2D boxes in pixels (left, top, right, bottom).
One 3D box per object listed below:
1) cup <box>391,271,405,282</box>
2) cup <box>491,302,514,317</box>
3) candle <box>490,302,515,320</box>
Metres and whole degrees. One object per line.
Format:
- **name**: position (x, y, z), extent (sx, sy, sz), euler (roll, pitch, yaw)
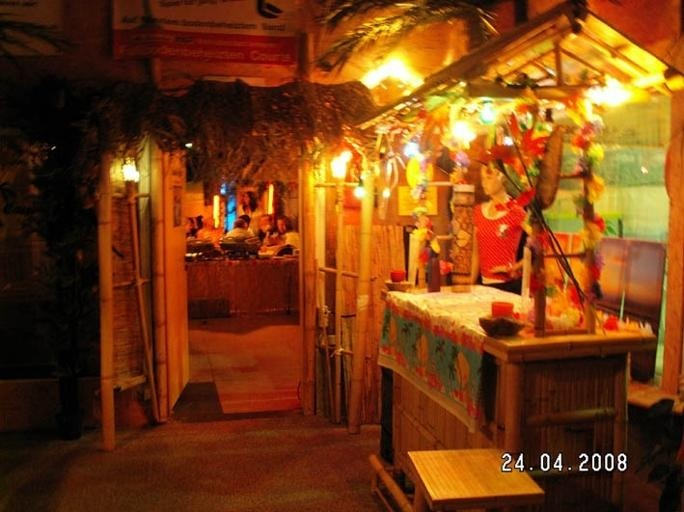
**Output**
- **cup**: position (0.448, 0.161, 4.690), extent (0.122, 0.089, 0.119), euler (0, 8, 0)
- **cup**: position (0.904, 0.292, 3.341), extent (0.088, 0.067, 0.089), euler (0, 3, 0)
- **candle**: position (0.890, 0.306, 3.343), extent (0.093, 0.071, 0.095), euler (0, 0, 43)
